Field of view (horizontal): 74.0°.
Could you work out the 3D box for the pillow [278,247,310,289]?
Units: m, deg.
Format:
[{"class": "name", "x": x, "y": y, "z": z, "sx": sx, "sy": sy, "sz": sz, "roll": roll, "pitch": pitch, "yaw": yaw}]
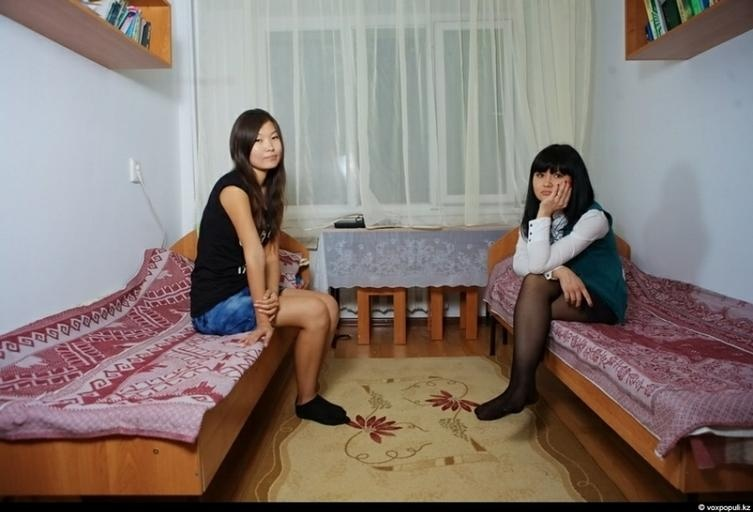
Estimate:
[{"class": "pillow", "x": -0.498, "y": 0.073, "z": 3.061, "sx": 0.192, "sy": 0.234, "sz": 0.075, "roll": 11, "pitch": -34, "yaw": -25}]
